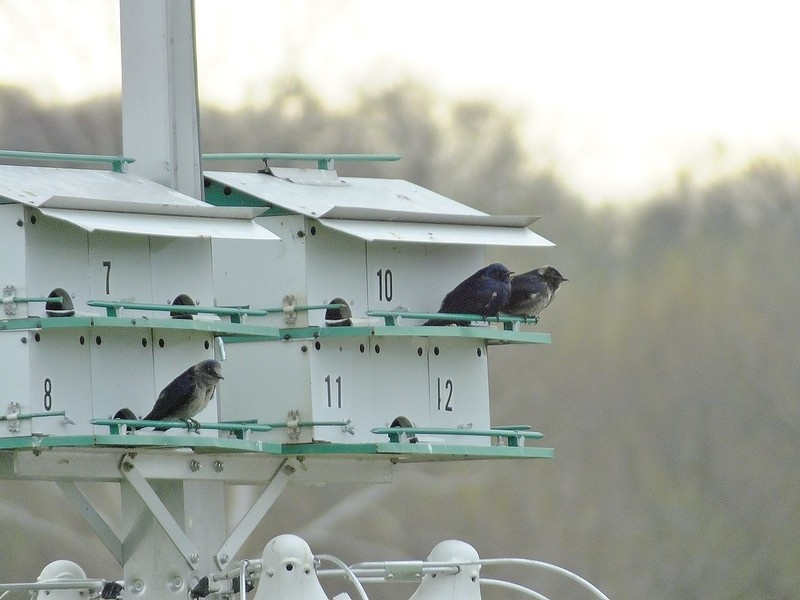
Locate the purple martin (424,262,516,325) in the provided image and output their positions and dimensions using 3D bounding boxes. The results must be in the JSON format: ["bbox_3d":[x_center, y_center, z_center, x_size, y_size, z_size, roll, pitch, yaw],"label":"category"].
[{"bbox_3d":[0.669,-0.091,18.875,0.829,0.402,0.390,-15,-13,29],"label":"purple martin"}]

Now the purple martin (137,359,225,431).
[{"bbox_3d":[-1.727,0.722,17.773,0.581,0.557,0.233,4,-10,-7],"label":"purple martin"}]

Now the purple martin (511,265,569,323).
[{"bbox_3d":[1.164,-0.108,19.379,0.459,0.512,0.391,-5,8,-42],"label":"purple martin"}]
